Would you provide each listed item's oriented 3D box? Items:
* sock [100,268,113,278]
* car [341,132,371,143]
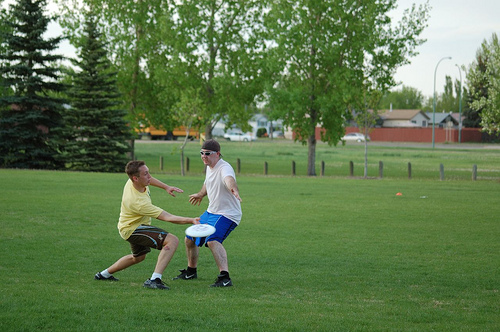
[{"bbox_3d":[-5.563,4.113,28.955,0.491,0.343,0.180,27,-31,13],"label":"sock"},{"bbox_3d":[13.753,-3.651,97.957,1.872,1.285,3.729,0,1,-18],"label":"car"}]
